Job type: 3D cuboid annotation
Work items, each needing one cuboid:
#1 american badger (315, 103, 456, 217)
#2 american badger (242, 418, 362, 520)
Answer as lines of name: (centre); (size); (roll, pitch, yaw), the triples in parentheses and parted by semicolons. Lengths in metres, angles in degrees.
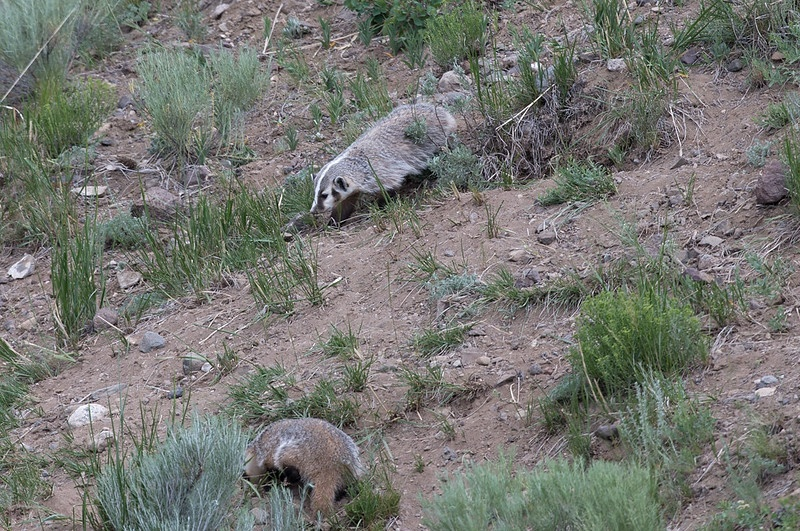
american badger: (-0.133, -0.904, 7.773); (1.411, 0.515, 0.766); (-46, 46, 4)
american badger: (-0.641, 1.208, 5.348); (0.843, 0.514, 0.580); (0, 75, 45)
